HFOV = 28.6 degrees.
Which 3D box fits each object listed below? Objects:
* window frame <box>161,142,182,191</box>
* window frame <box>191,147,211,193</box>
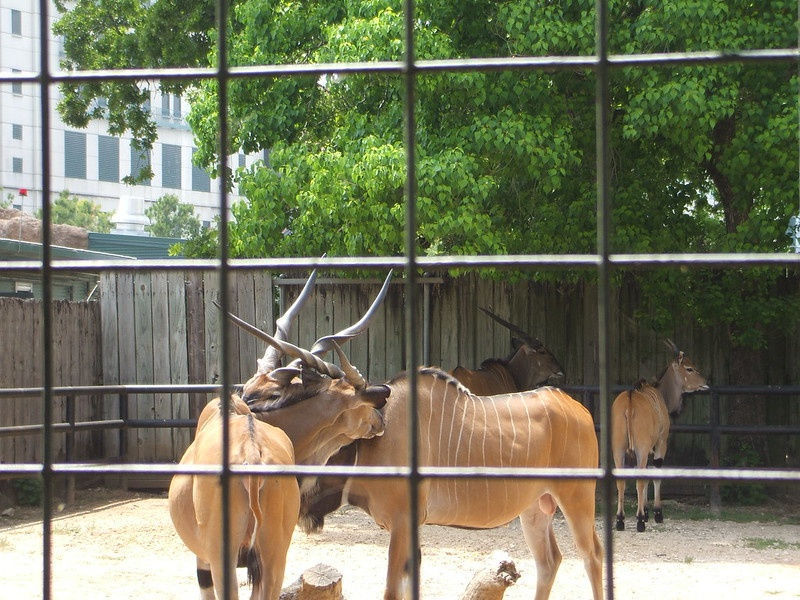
[{"bbox_3d":[-6.016,-3.424,39.588,0.500,1.165,0.049,4,-34,-15],"label":"window frame"},{"bbox_3d":[-5.438,-3.575,40.904,0.544,0.923,0.032,4,33,-6],"label":"window frame"}]
